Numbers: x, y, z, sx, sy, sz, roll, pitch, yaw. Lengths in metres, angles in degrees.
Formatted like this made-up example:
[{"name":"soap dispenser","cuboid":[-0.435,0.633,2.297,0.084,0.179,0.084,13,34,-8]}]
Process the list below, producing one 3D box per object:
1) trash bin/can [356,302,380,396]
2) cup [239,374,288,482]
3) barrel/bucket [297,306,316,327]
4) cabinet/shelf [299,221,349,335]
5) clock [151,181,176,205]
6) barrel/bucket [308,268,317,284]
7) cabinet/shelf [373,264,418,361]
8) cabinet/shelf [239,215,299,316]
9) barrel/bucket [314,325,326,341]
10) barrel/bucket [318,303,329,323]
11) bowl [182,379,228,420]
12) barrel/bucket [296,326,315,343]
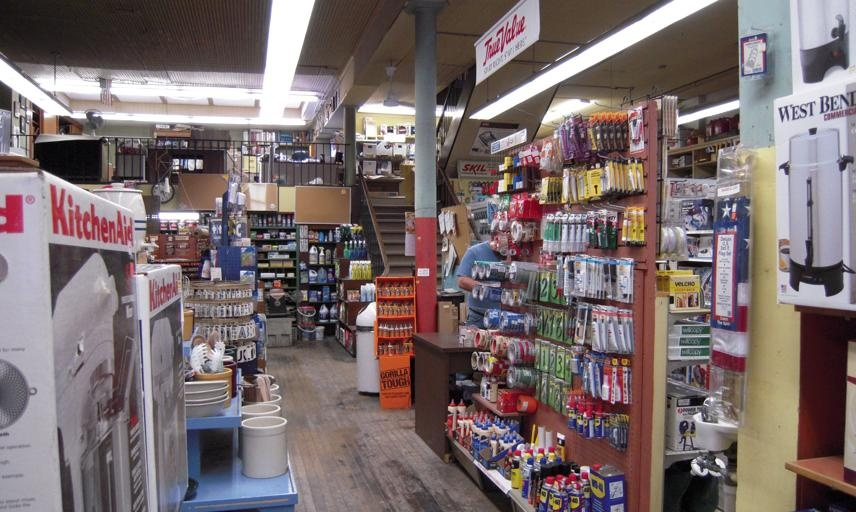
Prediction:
[{"name":"trash bin/can","cuboid":[-0.795,1.283,8.613,0.288,1.084,0.342,3,-7,9]},{"name":"cup","cuboid":[-1.196,1.359,4.771,0.347,0.446,0.495,0,0,-14]},{"name":"barrel/bucket","cuboid":[-2.472,1.218,13.155,0.393,0.491,0.383,-1,-6,0]},{"name":"cabinet/shelf","cuboid":[-2.266,0.411,13.596,0.790,2.872,0.762,-3,7,-32]},{"name":"clock","cuboid":[-5.438,-1.292,13.332,0.406,0.421,0.163,1,1,0]},{"name":"barrel/bucket","cuboid":[-2.418,0.417,13.668,0.227,0.280,0.147,-4,6,-30]},{"name":"cabinet/shelf","cuboid":[-0.448,0.790,8.853,0.431,1.204,0.373,5,-1,-25]},{"name":"cabinet/shelf","cuboid":[-3.229,0.114,13.186,1.183,2.884,1.152,-1,8,-14]},{"name":"barrel/bucket","cuboid":[-2.171,1.568,13.127,0.226,0.188,0.210,-1,-5,0]},{"name":"barrel/bucket","cuboid":[-2.172,1.198,13.592,0.198,0.340,0.355,-2,6,-10]},{"name":"bowl","cuboid":[-1.478,0.952,4.349,0.238,0.135,0.289,0,-8,-11]},{"name":"barrel/bucket","cuboid":[-2.431,1.586,13.090,0.277,0.225,0.290,1,-1,0]}]
